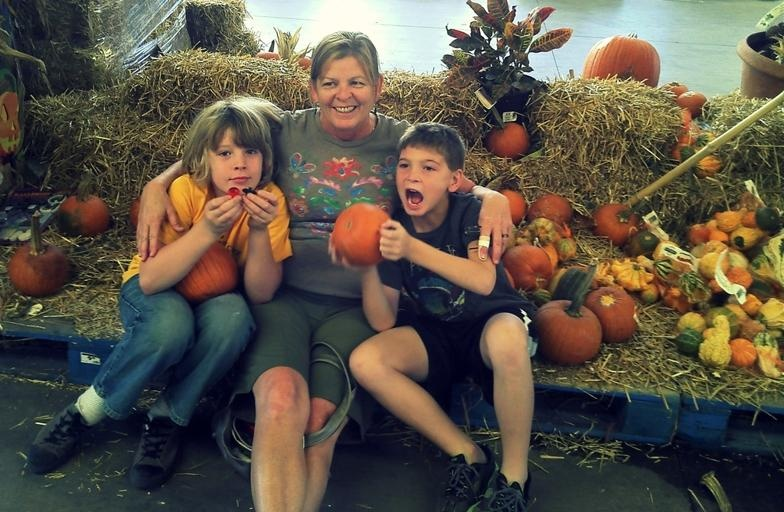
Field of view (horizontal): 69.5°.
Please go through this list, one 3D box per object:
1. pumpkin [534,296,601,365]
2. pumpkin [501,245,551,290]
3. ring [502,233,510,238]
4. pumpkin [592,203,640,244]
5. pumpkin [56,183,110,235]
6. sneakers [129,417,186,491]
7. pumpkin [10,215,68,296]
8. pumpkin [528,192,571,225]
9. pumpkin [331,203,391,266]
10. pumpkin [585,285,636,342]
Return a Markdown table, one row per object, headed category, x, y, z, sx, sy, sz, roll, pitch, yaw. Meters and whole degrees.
| category | x | y | z | sx | sy | sz | roll | pitch | yaw |
| --- | --- | --- | --- | --- | --- | --- | --- | --- | --- |
| pumpkin | 1.060 | 0.443 | 3.467 | 0.400 | 0.334 | 0.385 | -26 | 36 | -32 |
| pumpkin | 0.930 | 0.108 | 3.893 | 0.327 | 0.278 | 0.313 | -13 | -17 | 41 |
| ring | 0.636 | -0.108 | 3.102 | 0.055 | 0.015 | 0.021 | 5 | -2 | -43 |
| pumpkin | 1.710 | -0.240 | 4.323 | 0.325 | 0.288 | 0.179 | 8 | 21 | 9 |
| pumpkin | -2.290 | -0.329 | 4.161 | 0.306 | 0.358 | 0.293 | 19 | 30 | 28 |
| sneakers | -1.236 | 1.045 | 3.066 | 0.184 | 0.180 | 0.436 | 15 | 29 | -12 |
| pumpkin | -2.366 | 0.018 | 3.768 | 0.440 | 0.545 | 0.393 | -8 | 45 | -29 |
| pumpkin | 1.192 | -0.333 | 4.419 | 0.343 | 0.237 | 0.250 | 3 | -21 | -13 |
| pumpkin | -0.172 | -0.124 | 3.017 | 0.368 | 0.272 | 0.320 | 1 | 3 | -2 |
| pumpkin | 1.408 | 0.335 | 3.585 | 0.363 | 0.308 | 0.314 | 3 | 42 | 14 |
